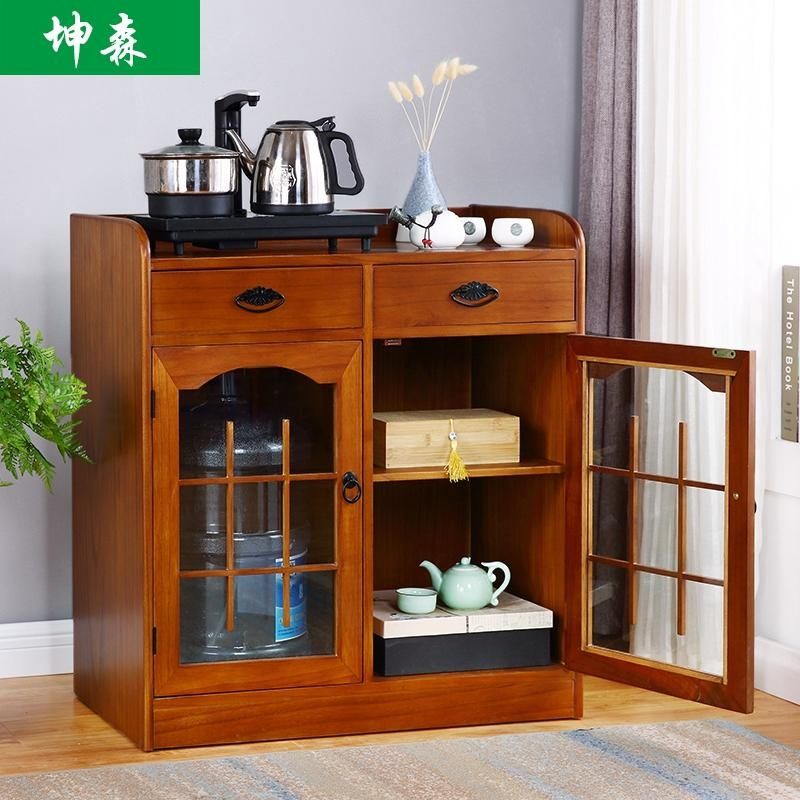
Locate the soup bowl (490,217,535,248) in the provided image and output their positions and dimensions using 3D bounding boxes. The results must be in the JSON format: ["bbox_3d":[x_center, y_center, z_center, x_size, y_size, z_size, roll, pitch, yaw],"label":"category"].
[{"bbox_3d":[0.253,-0.370,1.951,0.077,0.050,0.077,1,5,0],"label":"soup bowl"}]

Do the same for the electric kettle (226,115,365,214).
[{"bbox_3d":[-0.211,-0.468,1.760,0.271,0.181,0.168,1,18,1],"label":"electric kettle"}]

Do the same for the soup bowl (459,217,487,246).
[{"bbox_3d":[0.180,-0.402,2.080,0.062,0.049,0.065,1,9,0],"label":"soup bowl"}]

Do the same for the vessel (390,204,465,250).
[{"bbox_3d":[0.054,-0.375,1.908,0.147,0.084,0.093,-2,9,1],"label":"vessel"}]

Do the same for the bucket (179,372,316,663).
[{"bbox_3d":[-0.327,0.220,1.807,0.303,0.595,0.295,-2,3,0],"label":"bucket"}]

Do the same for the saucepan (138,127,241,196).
[{"bbox_3d":[-0.406,-0.468,1.700,0.183,0.113,0.180,-3,20,-11],"label":"saucepan"}]

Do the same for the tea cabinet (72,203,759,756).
[{"bbox_3d":[0.032,0.185,1.777,1.259,0.892,0.786,-5,-4,20],"label":"tea cabinet"}]

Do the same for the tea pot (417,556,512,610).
[{"bbox_3d":[0.146,0.408,1.974,0.197,0.107,0.124,1,-2,4],"label":"tea pot"}]

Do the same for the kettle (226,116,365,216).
[{"bbox_3d":[-0.210,-0.467,1.760,0.266,0.184,0.166,3,17,10],"label":"kettle"}]

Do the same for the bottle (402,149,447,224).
[{"bbox_3d":[0.057,-0.497,2.043,0.095,0.182,0.091,-1,26,1],"label":"bottle"}]

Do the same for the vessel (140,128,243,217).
[{"bbox_3d":[-0.388,-0.408,1.634,0.183,0.150,0.178,0,7,-2],"label":"vessel"}]

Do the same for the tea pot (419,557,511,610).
[{"bbox_3d":[0.150,0.407,1.971,0.191,0.107,0.122,1,-2,2],"label":"tea pot"}]
